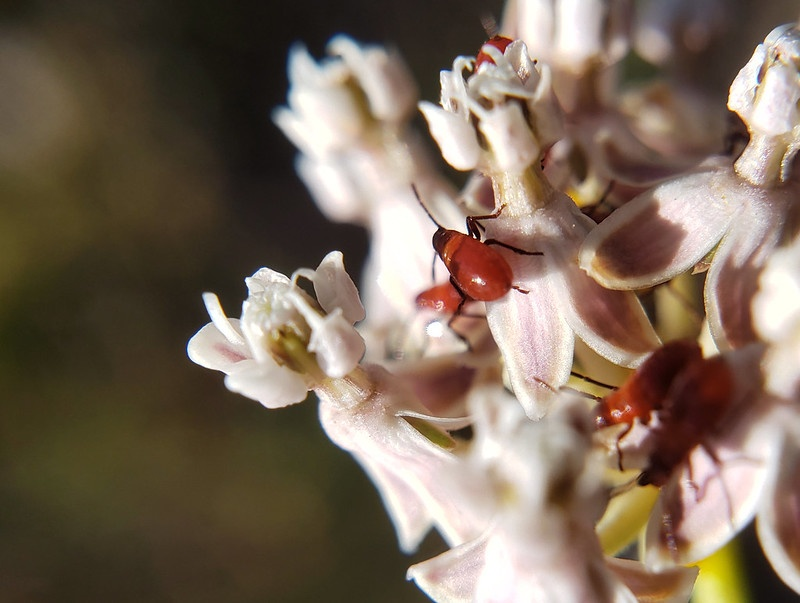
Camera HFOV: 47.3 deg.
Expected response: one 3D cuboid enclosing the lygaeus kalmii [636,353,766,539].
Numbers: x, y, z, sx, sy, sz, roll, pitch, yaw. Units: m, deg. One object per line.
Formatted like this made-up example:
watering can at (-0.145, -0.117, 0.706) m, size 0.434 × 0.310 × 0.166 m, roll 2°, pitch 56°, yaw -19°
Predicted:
lygaeus kalmii at (0.445, 0.205, 1.373) m, size 0.074 × 0.302 × 0.333 m, roll 0°, pitch -3°, yaw -24°
